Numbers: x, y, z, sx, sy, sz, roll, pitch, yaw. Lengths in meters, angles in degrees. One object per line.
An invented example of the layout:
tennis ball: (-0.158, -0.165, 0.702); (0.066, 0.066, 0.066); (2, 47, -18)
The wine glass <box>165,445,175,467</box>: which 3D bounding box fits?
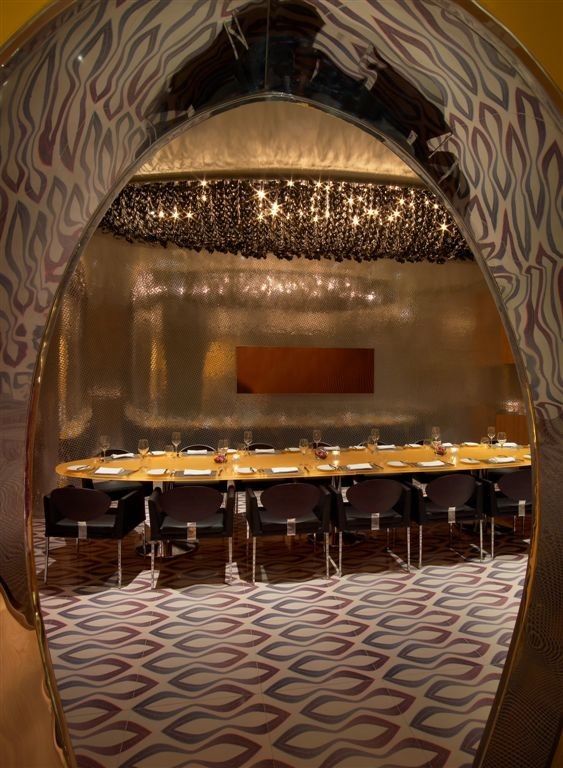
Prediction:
wine glass: (-1.033, 0.672, 5.184); (0.109, 0.247, 0.102); (0, -4, -4)
